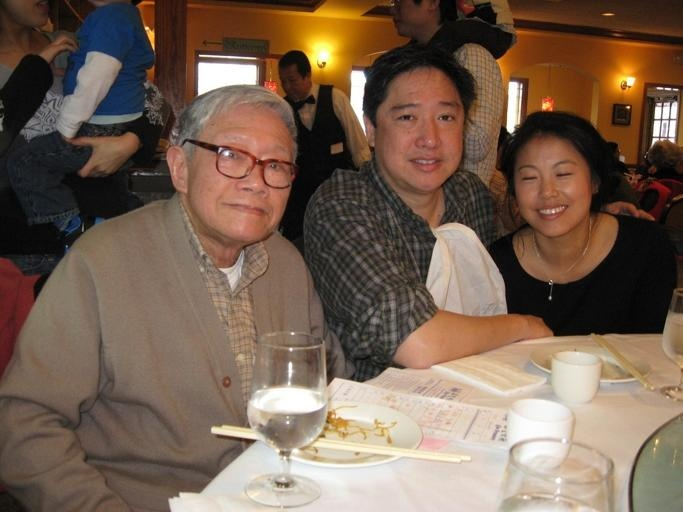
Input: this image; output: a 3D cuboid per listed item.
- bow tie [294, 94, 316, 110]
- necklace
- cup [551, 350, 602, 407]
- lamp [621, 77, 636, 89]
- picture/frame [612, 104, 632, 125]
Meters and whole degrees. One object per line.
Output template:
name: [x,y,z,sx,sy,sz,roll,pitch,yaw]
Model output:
bow tie: [-0.383,-1.589,5.647,0.161,0.042,0.173,-30,8,-21]
necklace: [1.121,0.037,2.783,0.256,0.077,0.539,-20,8,28]
cup: [0.634,0.326,1.498,0.137,0.110,0.128,1,-1,0]
lamp: [6.535,-3.989,12.581,0.254,0.326,0.264,-5,26,-6]
picture/frame: [6.459,-3.302,12.608,0.474,0.533,0.054,-2,4,3]
